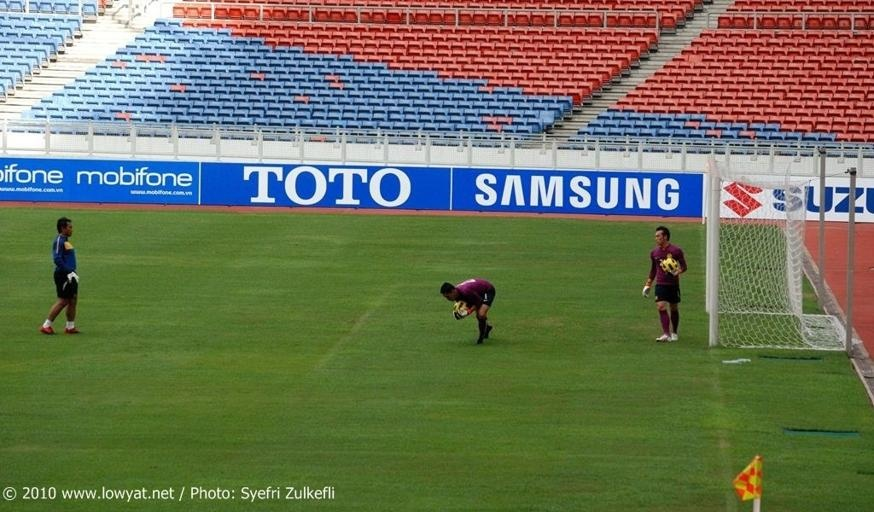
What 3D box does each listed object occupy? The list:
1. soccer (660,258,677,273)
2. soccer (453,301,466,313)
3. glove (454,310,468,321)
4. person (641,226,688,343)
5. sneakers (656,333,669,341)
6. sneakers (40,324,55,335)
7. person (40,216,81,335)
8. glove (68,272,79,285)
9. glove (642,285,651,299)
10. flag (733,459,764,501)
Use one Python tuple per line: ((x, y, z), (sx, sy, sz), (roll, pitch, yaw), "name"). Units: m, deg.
((7.380, 0.210, 59.338), (0.433, 0.453, 0.527), (-23, -10, 11), "soccer")
((0.699, 1.531, 58.916), (0.251, 0.348, 0.497), (-7, 10, -41), "soccer")
((0.753, 1.776, 58.994), (0.479, 0.219, 0.280), (-6, 25, -2), "glove")
((7.281, 0.825, 59.604), (0.929, 3.541, 0.998), (7, 11, 41), "person")
((7.199, 2.521, 59.489), (0.436, 0.159, 0.160), (2, -6, -24), "sneakers")
((-12.373, 2.261, 59.412), (0.604, 0.223, 0.195), (-1, 3, 12), "sneakers")
((-12.051, 0.519, 59.779), (1.005, 3.581, 1.568), (-2, 8, -12), "person")
((-11.501, 0.635, 59.333), (0.229, 0.395, 0.286), (-27, 61, -22), "glove")
((6.720, 1.103, 59.721), (0.374, 0.399, 0.210), (-3, 15, -8), "glove")
((8.825, 6.161, 52.978), (0.775, 1.550, 1.301), (1, 8, 8), "flag")
